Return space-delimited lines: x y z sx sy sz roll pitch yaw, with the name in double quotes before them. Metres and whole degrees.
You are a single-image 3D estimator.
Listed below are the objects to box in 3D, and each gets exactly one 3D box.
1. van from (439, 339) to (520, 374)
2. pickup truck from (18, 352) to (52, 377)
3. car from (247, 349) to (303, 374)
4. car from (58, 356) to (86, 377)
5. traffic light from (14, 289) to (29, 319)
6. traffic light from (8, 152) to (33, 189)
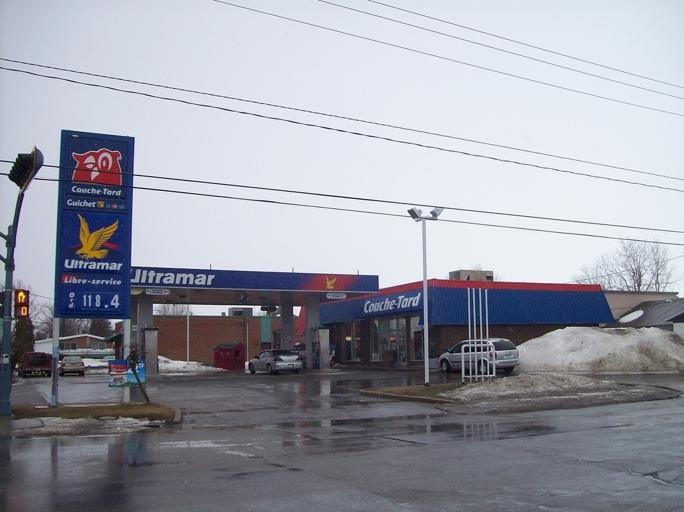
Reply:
"van" 8.019 5.678 37.871 3.541 2.049 7.091 -2 -12 0
"pickup truck" -23.126 8.197 50.156 1.618 1.956 4.769 7 -14 -38
"car" -4.422 7.121 44.986 2.553 1.662 4.434 8 -15 -40
"car" -20.512 8.300 50.440 1.440 1.458 1.955 5 -13 -33
"traffic light" -10.671 1.530 22.053 0.416 0.940 1.476 3 -12 -27
"traffic light" -9.659 -2.498 19.956 0.491 1.000 1.337 5 -13 -34
